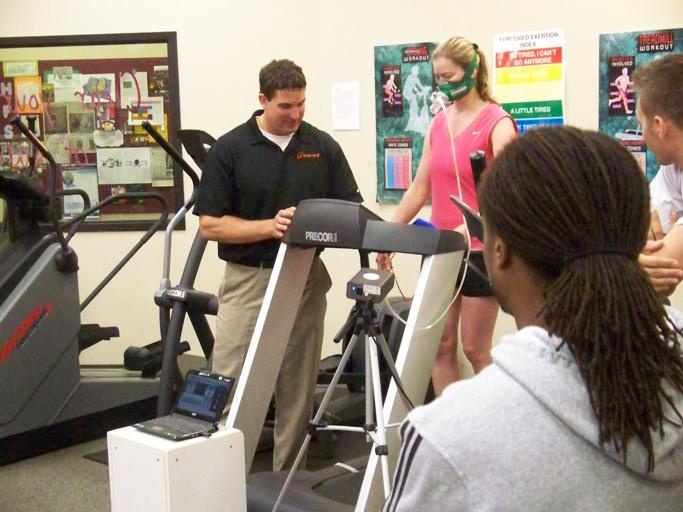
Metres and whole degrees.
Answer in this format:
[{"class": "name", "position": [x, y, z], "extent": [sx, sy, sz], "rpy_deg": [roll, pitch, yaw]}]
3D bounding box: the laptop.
[{"class": "laptop", "position": [-0.458, 0.398, 1.795], "extent": [0.192, 0.145, 0.194], "rpy_deg": [-1, -3, 37]}]
